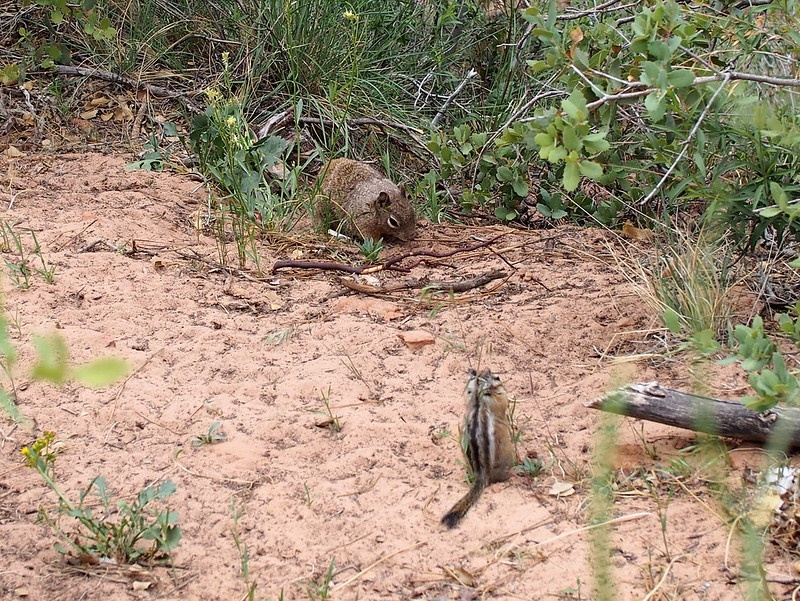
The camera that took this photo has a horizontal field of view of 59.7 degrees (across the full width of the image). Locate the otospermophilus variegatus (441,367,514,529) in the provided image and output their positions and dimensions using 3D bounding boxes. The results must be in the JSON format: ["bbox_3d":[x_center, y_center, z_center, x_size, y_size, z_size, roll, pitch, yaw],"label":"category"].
[{"bbox_3d":[0.470,0.616,3.339,0.224,0.385,0.869,-6,58,30],"label":"otospermophilus variegatus"}]
